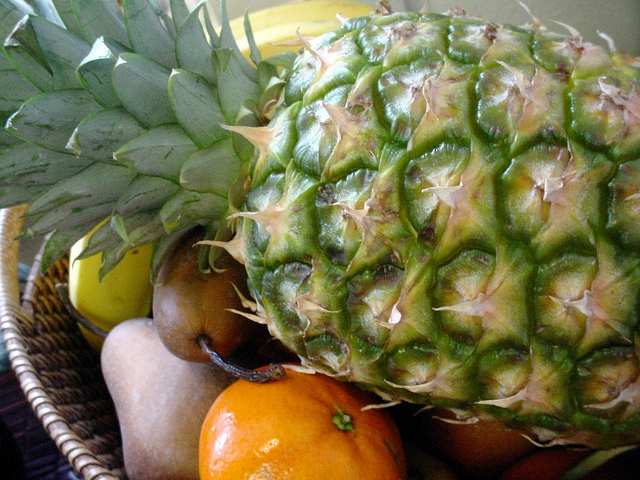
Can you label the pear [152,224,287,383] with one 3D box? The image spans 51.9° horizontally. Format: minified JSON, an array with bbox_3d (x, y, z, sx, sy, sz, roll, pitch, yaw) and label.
[{"bbox_3d":[-0.252,0.126,1.378,0.237,0.306,0.332,18,31,32],"label":"pear"}]
